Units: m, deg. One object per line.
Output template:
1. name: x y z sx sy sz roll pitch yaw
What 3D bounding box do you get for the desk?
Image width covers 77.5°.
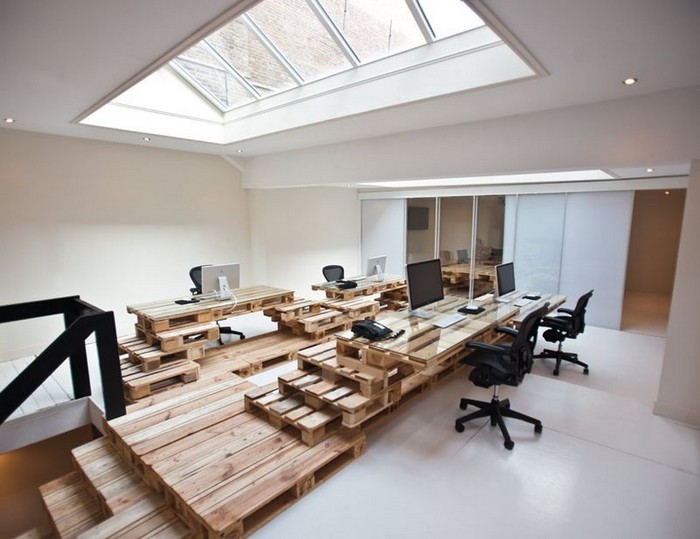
1. desk: 0.242 0.895 5.350 3.947 1.861 2.736 -1 8 22

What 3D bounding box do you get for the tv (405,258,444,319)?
1. tv: 0.940 0.266 5.493 0.289 0.696 0.815 11 16 36

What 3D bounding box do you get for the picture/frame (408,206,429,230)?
1. picture/frame: 1.624 -1.226 10.510 0.577 0.514 0.137 4 7 34

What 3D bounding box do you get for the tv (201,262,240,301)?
1. tv: -1.893 0.175 6.491 0.619 0.510 0.282 -6 16 -40

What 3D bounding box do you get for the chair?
1. chair: 3.037 0.866 6.225 0.790 1.037 0.734 -7 8 -37

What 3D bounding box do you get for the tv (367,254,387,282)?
1. tv: 0.511 -0.005 8.410 0.512 0.450 0.237 -11 21 -38

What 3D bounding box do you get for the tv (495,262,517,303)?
1. tv: 2.327 0.215 6.533 0.150 0.386 0.570 8 17 34

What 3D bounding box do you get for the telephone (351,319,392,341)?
1. telephone: 0.218 0.646 4.670 0.317 0.093 0.215 18 25 35
